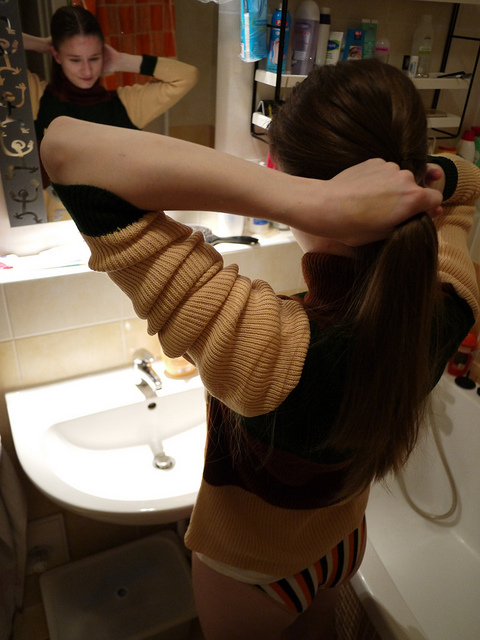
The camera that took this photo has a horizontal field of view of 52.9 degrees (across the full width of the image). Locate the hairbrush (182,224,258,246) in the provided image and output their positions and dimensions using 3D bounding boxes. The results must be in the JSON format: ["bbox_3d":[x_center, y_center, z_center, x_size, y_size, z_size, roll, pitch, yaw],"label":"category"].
[{"bbox_3d":[-0.053,-0.238,1.387,0.231,0.033,0.130,7,24,-17],"label":"hairbrush"}]

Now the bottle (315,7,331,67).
[{"bbox_3d":[0.223,-0.753,1.277,0.033,0.124,0.141,8,36,6],"label":"bottle"}]

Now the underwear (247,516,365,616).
[{"bbox_3d":[0.093,0.422,0.859,0.136,0.213,0.146,-27,48,-21],"label":"underwear"}]

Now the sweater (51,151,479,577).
[{"bbox_3d":[0.041,0.143,0.622,0.411,0.632,0.236,-12,38,-21],"label":"sweater"}]
